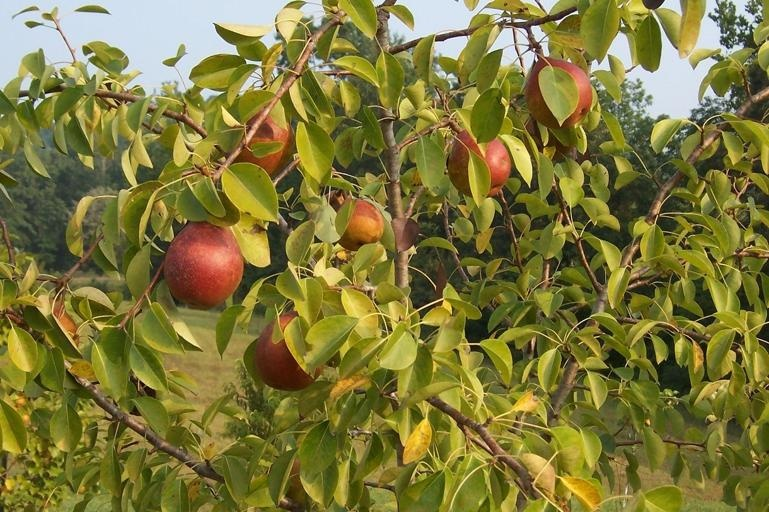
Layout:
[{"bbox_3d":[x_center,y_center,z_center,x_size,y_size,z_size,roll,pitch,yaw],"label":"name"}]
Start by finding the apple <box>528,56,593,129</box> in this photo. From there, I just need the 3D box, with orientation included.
[{"bbox_3d":[1.007,-0.898,5.700,0.376,0.445,0.360,-8,4,9],"label":"apple"}]

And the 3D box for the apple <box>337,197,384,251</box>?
[{"bbox_3d":[-0.111,-0.146,5.896,0.261,0.325,0.278,-14,-27,10],"label":"apple"}]
